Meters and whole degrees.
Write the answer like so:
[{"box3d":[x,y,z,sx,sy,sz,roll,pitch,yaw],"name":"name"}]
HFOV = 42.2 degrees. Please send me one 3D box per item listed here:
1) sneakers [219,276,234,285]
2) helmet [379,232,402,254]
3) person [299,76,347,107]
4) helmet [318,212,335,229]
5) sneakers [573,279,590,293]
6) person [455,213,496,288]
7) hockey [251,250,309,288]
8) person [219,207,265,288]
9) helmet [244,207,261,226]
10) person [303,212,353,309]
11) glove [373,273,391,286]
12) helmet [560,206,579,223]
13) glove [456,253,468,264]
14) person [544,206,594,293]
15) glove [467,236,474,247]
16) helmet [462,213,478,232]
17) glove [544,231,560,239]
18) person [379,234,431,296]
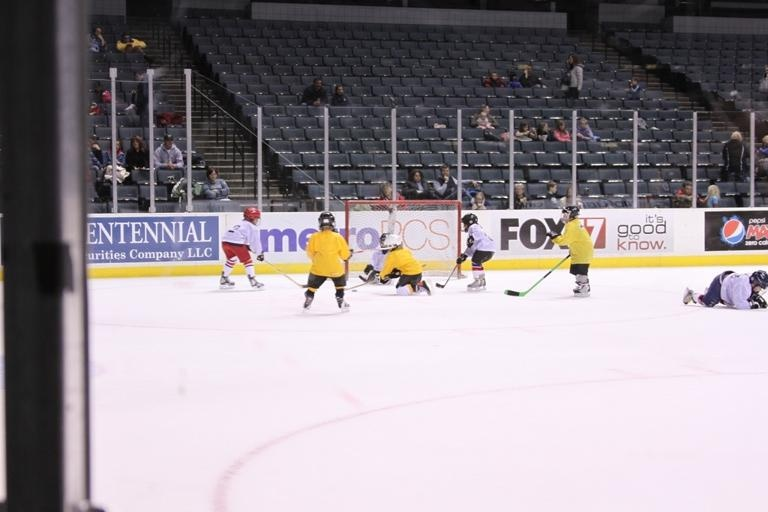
[{"box3d":[-2.201,0.362,13.878,0.213,0.181,0.099,-2,10,-26],"name":"sneakers"},{"box3d":[0.090,-0.167,12.681,0.261,0.240,0.318,0,11,-2],"name":"helmet"},{"box3d":[-1.100,-2.923,17.703,0.484,0.468,0.828,-3,8,-23],"name":"person"},{"box3d":[-0.663,-0.411,11.672,0.178,0.194,0.194,1,-3,-3],"name":"helmet"},{"box3d":[2.548,0.416,12.923,0.250,0.213,0.111,3,0,5],"name":"sneakers"},{"box3d":[1.355,-0.094,14.744,0.673,1.156,0.654,-3,-30,11],"name":"person"},{"box3d":[-1.539,0.191,14.866,0.669,0.094,0.082,46,34,11],"name":"hockey"},{"box3d":[-1.884,-0.089,13.638,0.464,1.141,0.869,-10,15,-44],"name":"person"},{"box3d":[-1.797,-0.542,13.592,0.195,0.231,0.263,-1,11,-9],"name":"helmet"},{"box3d":[-0.678,0.077,11.935,0.554,1.209,1.227,0,11,-2],"name":"person"},{"box3d":[-0.027,0.320,13.634,0.220,0.118,0.342,0,-3,-7],"name":"glove"},{"box3d":[2.453,-0.554,13.152,0.257,0.233,0.216,5,-7,11],"name":"helmet"},{"box3d":[1.042,0.047,13.773,0.109,0.142,0.060,-12,56,-40],"name":"glove"},{"box3d":[2.447,-0.057,13.054,0.531,1.119,0.710,2,11,10],"name":"person"},{"box3d":[1.196,-0.190,13.882,0.084,0.152,0.132,-1,11,-7],"name":"glove"},{"box3d":[1.191,-0.468,13.939,0.201,0.255,0.415,1,11,4],"name":"helmet"},{"box3d":[2.605,-0.330,15.455,0.273,0.108,0.198,1,0,3],"name":"glove"},{"box3d":[0.258,0.119,12.927,0.541,0.889,0.780,5,12,25],"name":"person"}]
